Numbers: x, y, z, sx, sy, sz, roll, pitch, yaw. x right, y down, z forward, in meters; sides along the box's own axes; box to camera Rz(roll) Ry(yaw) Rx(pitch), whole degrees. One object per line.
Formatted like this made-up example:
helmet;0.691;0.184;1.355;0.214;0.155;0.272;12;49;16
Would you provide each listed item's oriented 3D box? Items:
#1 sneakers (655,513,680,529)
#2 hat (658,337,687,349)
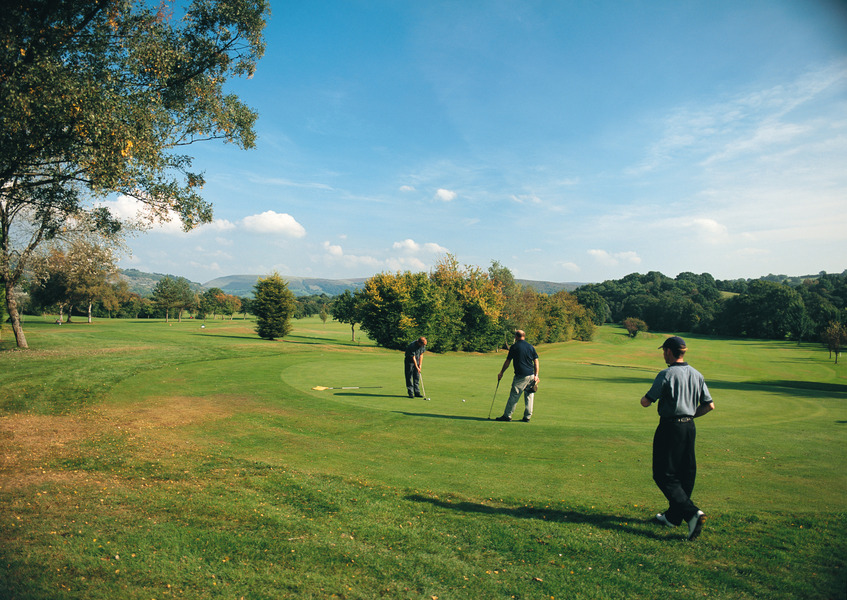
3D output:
sneakers;5.423;4.993;13.171;0.218;0.231;0.541;14;6;-23
hat;5.892;1.060;13.757;0.424;0.337;0.552;5;4;-14
